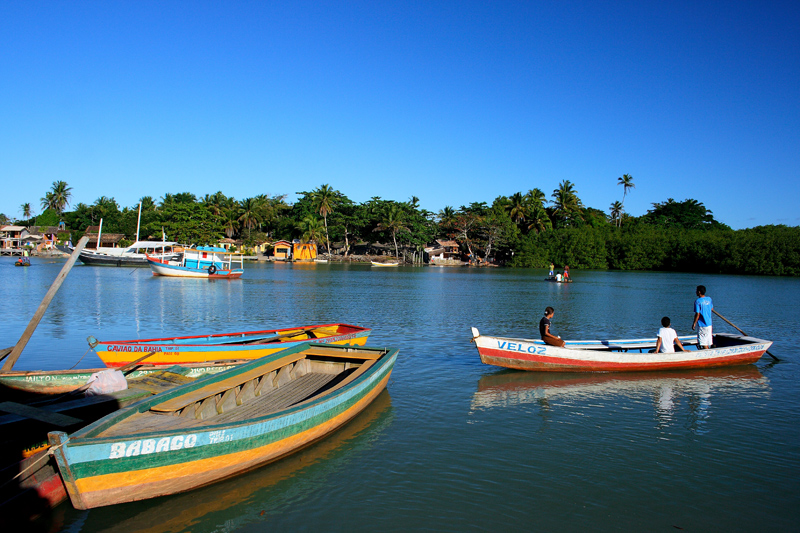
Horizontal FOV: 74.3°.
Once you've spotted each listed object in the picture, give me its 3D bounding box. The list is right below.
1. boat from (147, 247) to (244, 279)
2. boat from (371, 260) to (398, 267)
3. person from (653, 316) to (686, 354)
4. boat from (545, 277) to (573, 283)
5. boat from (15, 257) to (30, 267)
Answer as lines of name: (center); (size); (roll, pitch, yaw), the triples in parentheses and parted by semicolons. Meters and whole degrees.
boat: (-24.180, -0.438, 63.019); (10.669, 3.541, 4.031); (1, 8, 14)
boat: (-2.927, -0.561, 106.247); (1.776, 1.092, 8.715); (-2, -3, 45)
person: (11.166, 2.896, 22.001); (1.366, 1.569, 1.056); (-3, 18, 22)
boat: (18.684, 1.617, 62.678); (1.686, 0.795, 3.477); (-2, 7, -12)
boat: (-59.146, -0.650, 82.909); (1.726, 1.801, 5.441); (1, 13, -31)
